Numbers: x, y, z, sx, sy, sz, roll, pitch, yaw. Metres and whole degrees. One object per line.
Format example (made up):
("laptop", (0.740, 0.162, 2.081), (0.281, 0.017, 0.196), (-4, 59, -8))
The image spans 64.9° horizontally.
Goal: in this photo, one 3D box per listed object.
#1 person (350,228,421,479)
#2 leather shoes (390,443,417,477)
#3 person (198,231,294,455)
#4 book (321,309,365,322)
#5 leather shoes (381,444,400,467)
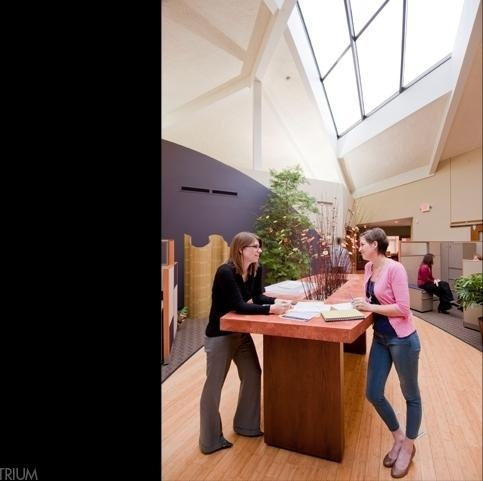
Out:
("person", (0.771, 0.536, 1.999), (0.324, 1.205, 0.351), (0, 1, 28))
("leather shoes", (0.821, 1.059, 1.917), (0.072, 0.101, 0.245), (-9, 27, 39))
("person", (-0.005, 0.560, 2.044), (0.408, 1.261, 0.425), (0, 7, -5))
("book", (0.487, 0.361, 1.826), (0.204, 0.026, 0.138), (0, 1, -5))
("leather shoes", (0.774, 1.073, 1.950), (0.045, 0.074, 0.160), (-11, 7, 37))
